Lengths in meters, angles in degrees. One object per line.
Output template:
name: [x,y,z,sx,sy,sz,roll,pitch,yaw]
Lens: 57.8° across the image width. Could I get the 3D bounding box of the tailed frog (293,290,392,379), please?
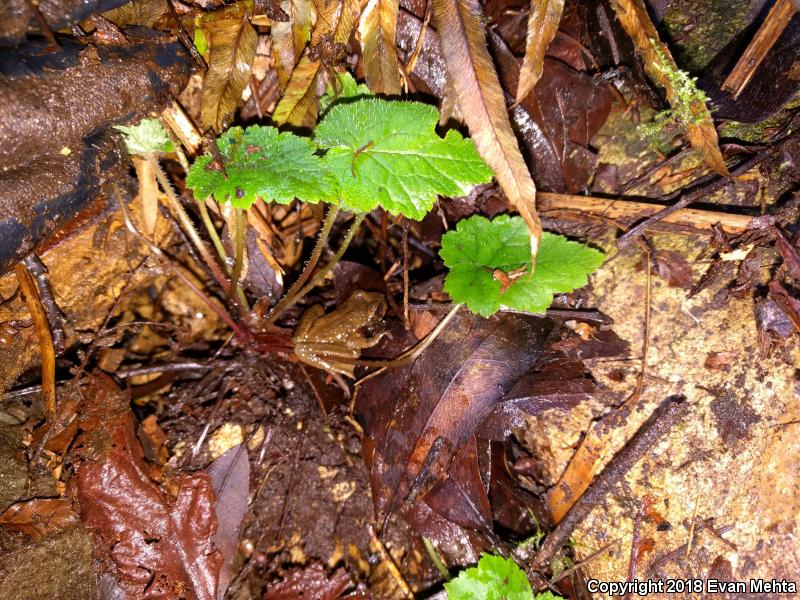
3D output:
tailed frog: [-0.359,0.199,4.515,0.509,0.185,0.536,-35,72,-12]
